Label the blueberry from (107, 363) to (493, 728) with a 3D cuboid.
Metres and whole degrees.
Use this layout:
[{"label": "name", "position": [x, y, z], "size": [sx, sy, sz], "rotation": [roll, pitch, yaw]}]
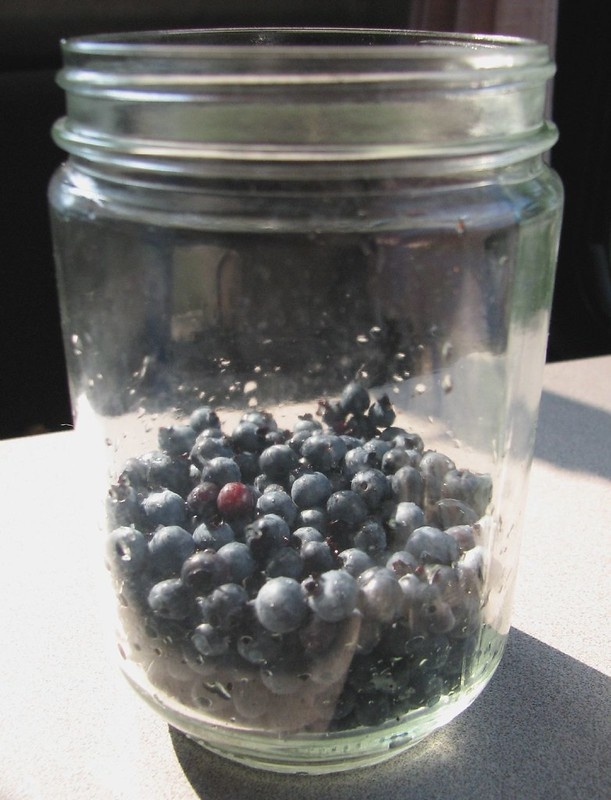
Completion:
[{"label": "blueberry", "position": [-0.007, 0.093, 0.611], "size": [0.260, 0.161, 0.277], "rotation": [-5, 14, -17]}]
